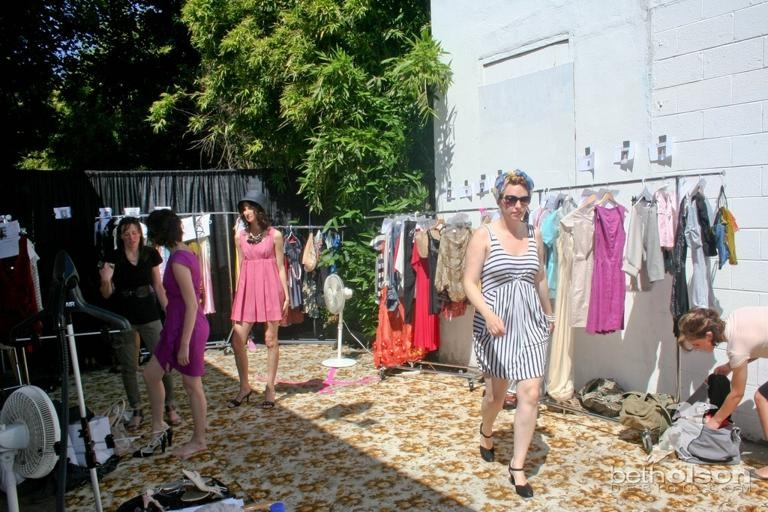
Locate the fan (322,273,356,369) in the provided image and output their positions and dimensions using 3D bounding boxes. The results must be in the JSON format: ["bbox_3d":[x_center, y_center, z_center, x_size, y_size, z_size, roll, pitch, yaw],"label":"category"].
[{"bbox_3d":[-0.702,0.905,8.338,0.504,1.481,1.174,-2,11,-6],"label":"fan"}]

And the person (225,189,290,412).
[{"bbox_3d":[-1.517,0.514,6.511,0.749,2.559,0.604,-5,11,-16],"label":"person"}]

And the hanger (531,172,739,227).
[{"bbox_3d":[2.703,-0.542,6.106,1.757,0.688,0.561,0,9,42],"label":"hanger"}]

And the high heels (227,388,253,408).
[{"bbox_3d":[-1.713,1.687,6.605,0.128,0.234,0.400,2,-3,40],"label":"high heels"}]

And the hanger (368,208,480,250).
[{"bbox_3d":[0.512,-0.423,7.285,1.175,0.407,0.362,3,5,42],"label":"hanger"}]

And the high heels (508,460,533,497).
[{"bbox_3d":[1.175,1.991,4.920,0.114,0.156,0.339,-4,1,-20],"label":"high heels"}]

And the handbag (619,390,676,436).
[{"bbox_3d":[2.684,1.609,5.637,0.464,0.282,0.534,6,13,33],"label":"handbag"}]

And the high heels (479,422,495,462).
[{"bbox_3d":[1.008,1.832,5.410,0.108,0.150,0.363,-3,19,-5],"label":"high heels"}]

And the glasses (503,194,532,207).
[{"bbox_3d":[1.193,-0.508,4.898,0.242,0.091,0.089,-5,11,-19],"label":"glasses"}]

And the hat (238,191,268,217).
[{"bbox_3d":[-1.514,-0.627,6.368,0.252,0.276,0.340,-1,11,3],"label":"hat"}]

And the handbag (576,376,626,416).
[{"bbox_3d":[2.442,1.562,6.195,0.478,0.305,0.390,3,12,22],"label":"handbag"}]

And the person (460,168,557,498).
[{"bbox_3d":[1.117,0.641,4.990,0.762,2.784,0.795,2,11,18],"label":"person"}]

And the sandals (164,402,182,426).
[{"bbox_3d":[-2.355,1.776,6.196,0.118,0.143,0.329,-1,1,-26],"label":"sandals"}]
